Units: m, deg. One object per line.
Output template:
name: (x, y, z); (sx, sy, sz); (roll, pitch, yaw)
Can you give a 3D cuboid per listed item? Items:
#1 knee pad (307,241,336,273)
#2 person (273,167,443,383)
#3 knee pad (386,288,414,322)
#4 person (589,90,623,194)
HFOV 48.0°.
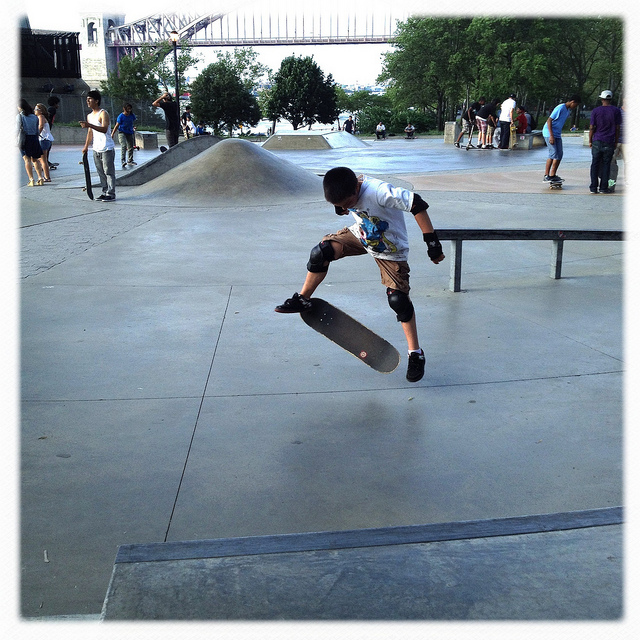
knee pad: (0.012, -0.393, 4.499); (0.173, 0.201, 0.101); (-2, 16, -2)
person: (0.248, -0.291, 4.359); (0.888, 1.250, 0.675); (-2, 15, -2)
knee pad: (0.448, -0.085, 4.245); (0.174, 0.189, 0.099); (9, 19, 36)
person: (4.647, -2.870, 11.753); (0.469, 1.622, 0.978); (4, 16, 21)
